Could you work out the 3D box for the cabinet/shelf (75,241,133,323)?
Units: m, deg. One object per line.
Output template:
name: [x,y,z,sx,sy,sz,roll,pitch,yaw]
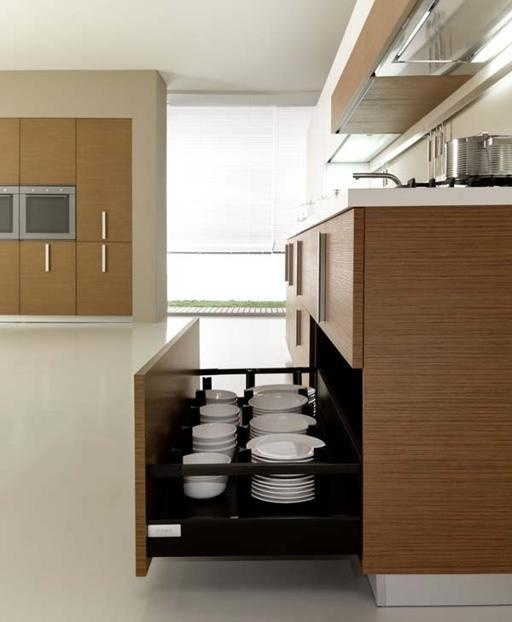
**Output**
cabinet/shelf: [-1.516,-0.313,5.722,0.631,1.037,0.642,0,-1,-6]
